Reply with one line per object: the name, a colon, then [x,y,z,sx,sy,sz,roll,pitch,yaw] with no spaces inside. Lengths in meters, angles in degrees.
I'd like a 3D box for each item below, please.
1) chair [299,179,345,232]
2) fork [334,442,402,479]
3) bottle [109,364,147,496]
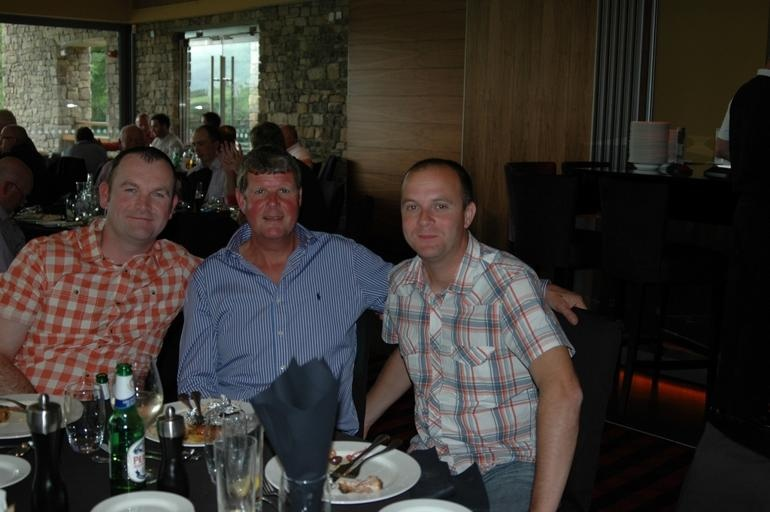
chair: [-0.548,-0.452,5.304,0.407,0.452,0.765,-1,7,4]
fork: [-0.047,0.593,1.762,0.071,0.018,0.226,11,16,31]
bottle: [-0.706,0.443,1.629,0.096,0.349,0.182,-4,9,-23]
